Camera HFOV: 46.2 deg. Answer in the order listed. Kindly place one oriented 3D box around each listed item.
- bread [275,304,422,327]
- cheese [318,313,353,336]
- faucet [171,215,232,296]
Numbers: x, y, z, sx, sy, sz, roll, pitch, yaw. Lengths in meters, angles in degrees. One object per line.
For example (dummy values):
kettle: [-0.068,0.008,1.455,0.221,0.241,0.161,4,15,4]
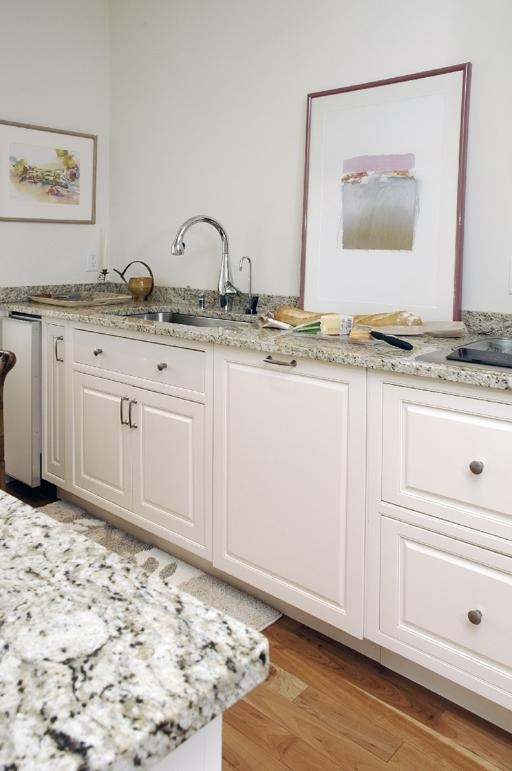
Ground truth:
bread: [0.318,-0.235,2.002,0.416,0.064,0.102,3,5,21]
cheese: [0.248,-0.186,1.850,0.096,0.061,0.063,-2,11,9]
faucet: [-0.198,-0.520,2.384,0.213,0.338,0.411,-4,11,-1]
